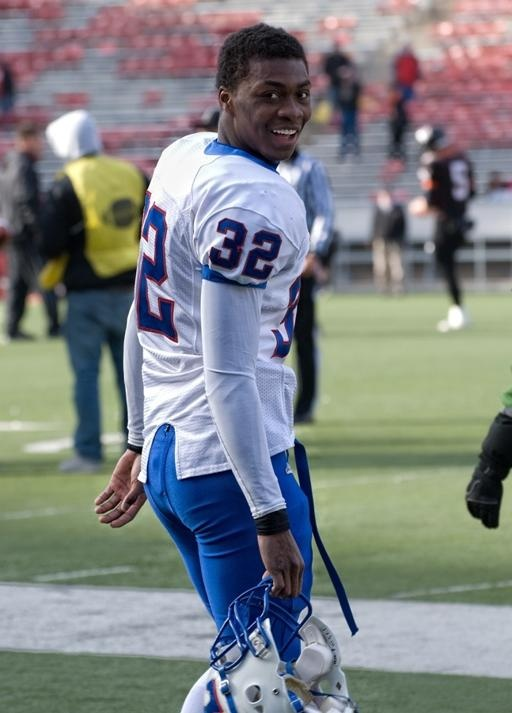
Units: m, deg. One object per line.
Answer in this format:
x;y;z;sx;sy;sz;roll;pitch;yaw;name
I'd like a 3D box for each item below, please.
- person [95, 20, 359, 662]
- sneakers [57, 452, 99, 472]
-0.084;-0.050;2.625;0.370;1.309;0.645;-8;9;-41;person
-0.973;0.592;6.850;0.262;0.099;0.089;-1;1;7;sneakers
